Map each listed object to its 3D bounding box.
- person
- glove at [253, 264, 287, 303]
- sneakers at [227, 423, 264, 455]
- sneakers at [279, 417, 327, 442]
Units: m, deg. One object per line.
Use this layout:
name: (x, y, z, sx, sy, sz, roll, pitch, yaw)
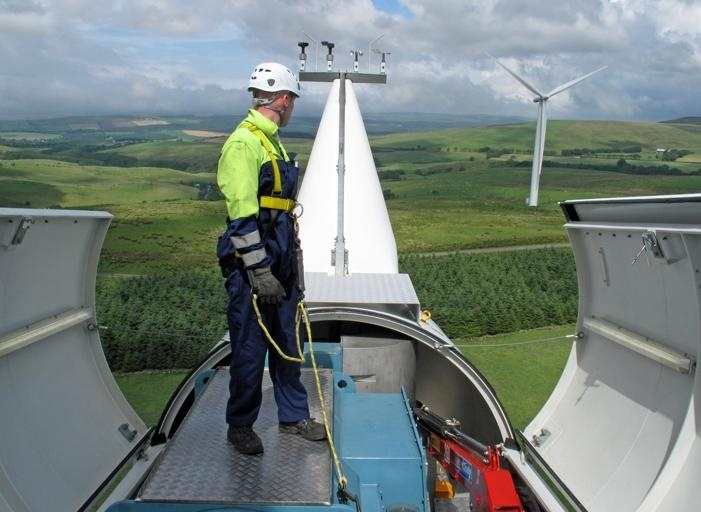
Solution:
person: (-0.725, -0.043, 3.556, 0.867, 3.111, 0.893, 11, 8, -4)
glove: (-0.641, 0.230, 3.429, 0.238, 0.278, 0.087, -30, 0, 3)
sneakers: (-0.842, 1.461, 3.464, 0.145, 0.118, 0.353, 3, -4, -40)
sneakers: (-0.401, 1.444, 3.613, 0.352, 0.121, 0.155, 2, 7, 4)
